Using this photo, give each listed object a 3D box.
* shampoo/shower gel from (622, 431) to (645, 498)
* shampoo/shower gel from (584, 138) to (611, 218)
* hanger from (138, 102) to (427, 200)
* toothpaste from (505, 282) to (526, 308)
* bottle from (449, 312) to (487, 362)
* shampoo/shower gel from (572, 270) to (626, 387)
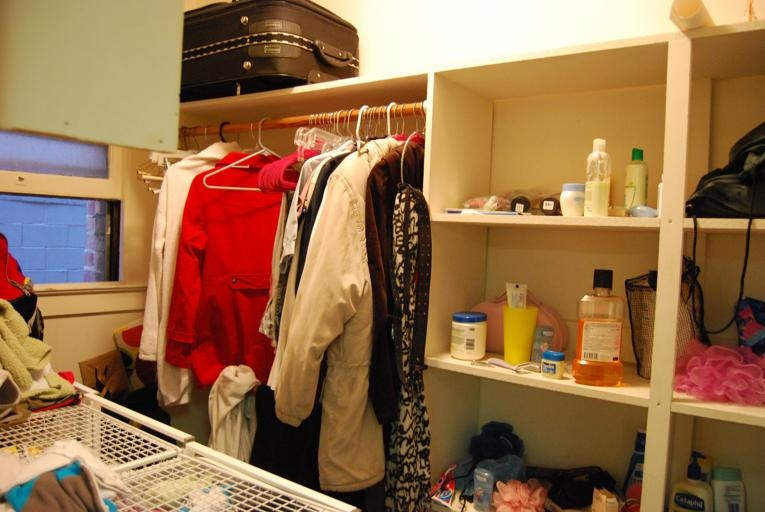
[{"bbox_3d":[0.909,0.743,2.118,0.063,0.242,0.130,2,6,22],"label":"shampoo/shower gel"},{"bbox_3d":[0.703,-0.258,1.920,0.080,0.248,0.107,1,6,19],"label":"shampoo/shower gel"},{"bbox_3d":[-0.436,-0.468,2.579,1.467,0.359,0.607,3,7,28],"label":"hanger"},{"bbox_3d":[0.479,0.137,2.114,0.072,0.097,0.009,9,22,29],"label":"toothpaste"},{"bbox_3d":[0.304,0.281,2.095,0.152,0.172,0.152,1,-3,-10],"label":"bottle"},{"bbox_3d":[0.720,0.224,1.965,0.160,0.362,0.203,0,6,11],"label":"shampoo/shower gel"}]
